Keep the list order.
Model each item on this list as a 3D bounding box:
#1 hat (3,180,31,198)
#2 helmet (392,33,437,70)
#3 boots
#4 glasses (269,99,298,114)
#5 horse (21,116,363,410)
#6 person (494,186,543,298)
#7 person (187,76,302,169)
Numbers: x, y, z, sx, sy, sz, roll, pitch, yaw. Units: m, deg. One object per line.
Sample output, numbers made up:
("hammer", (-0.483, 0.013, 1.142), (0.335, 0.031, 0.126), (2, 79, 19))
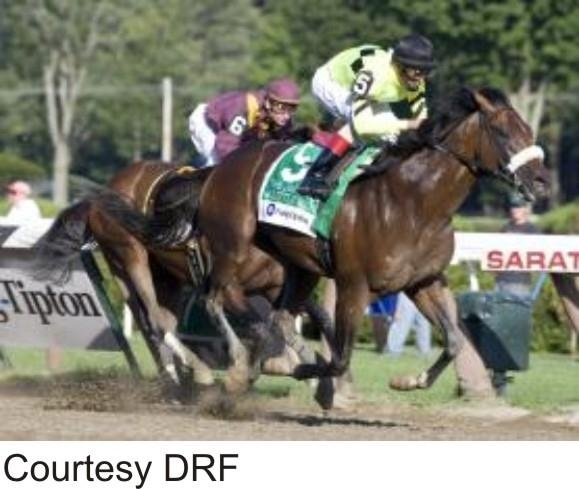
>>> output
("hat", (-2.340, -0.473, 12.503), (0.142, 0.142, 0.078), (-12, 15, -9))
("helmet", (0.881, -1.369, 10.338), (0.231, 0.171, 0.266), (-2, 16, -14))
("boots", (0.242, -0.544, 10.413), (0.209, 0.521, 0.330), (32, -19, -7))
("glasses", (-0.050, -1.030, 10.985), (0.115, 0.087, 0.150), (5, 16, -10))
("horse", (-0.669, -0.116, 11.146), (2.897, 1.805, 0.646), (-4, 11, 25))
("person", (1.938, -0.145, 12.238), (0.402, 0.852, 0.267), (5, 15, 10))
("person", (-0.276, -0.814, 11.422), (0.587, 0.890, 1.173), (-2, 2, -30))
